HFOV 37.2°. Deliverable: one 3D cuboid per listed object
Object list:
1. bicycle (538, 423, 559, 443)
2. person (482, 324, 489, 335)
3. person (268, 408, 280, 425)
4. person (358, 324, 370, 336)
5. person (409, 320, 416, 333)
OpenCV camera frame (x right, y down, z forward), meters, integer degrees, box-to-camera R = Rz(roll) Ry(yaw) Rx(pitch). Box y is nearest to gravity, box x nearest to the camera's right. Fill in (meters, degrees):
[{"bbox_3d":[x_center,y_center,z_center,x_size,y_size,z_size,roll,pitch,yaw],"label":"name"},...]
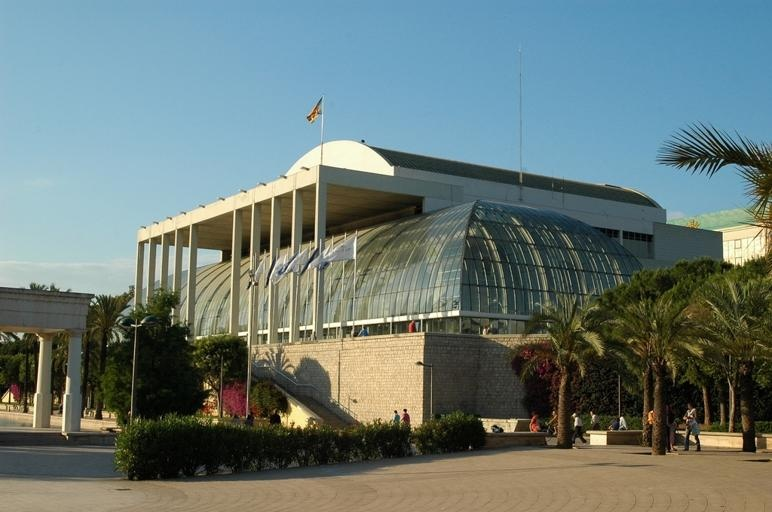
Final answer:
[{"bbox_3d":[9.804,10.525,67.802,1.639,1.026,0.813,17,-25,-21],"label":"bicycle"},{"bbox_3d":[7.032,5.137,80.681,0.519,1.290,0.483,-2,-4,11],"label":"person"},{"bbox_3d":[-7.649,10.976,78.709,0.791,1.147,2.570,1,-14,-7],"label":"person"},{"bbox_3d":[-1.896,5.580,86.983,0.749,0.795,1.424,6,14,-3],"label":"person"},{"bbox_3d":[1.819,4.921,80.033,0.603,0.842,0.627,0,-2,2],"label":"person"}]
